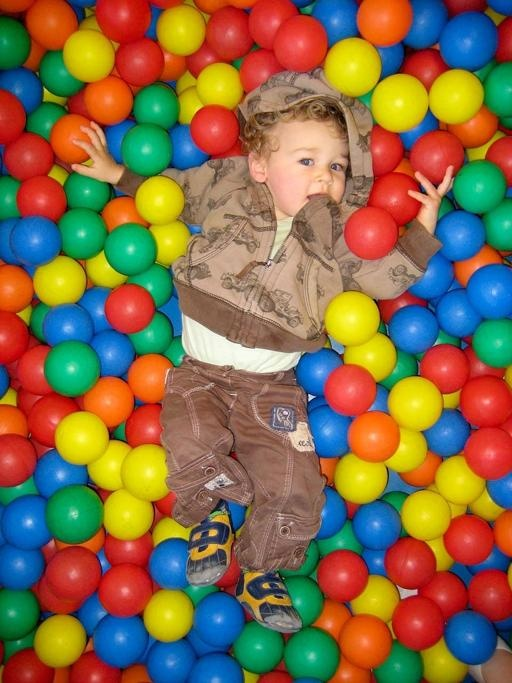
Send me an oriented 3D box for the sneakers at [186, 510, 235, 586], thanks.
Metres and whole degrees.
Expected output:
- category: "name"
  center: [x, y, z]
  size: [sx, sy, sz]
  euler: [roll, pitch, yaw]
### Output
- category: "sneakers"
  center: [-0.155, 0.710, 2.238]
  size: [0.129, 0.106, 0.290]
  euler: [2, 42, 11]
